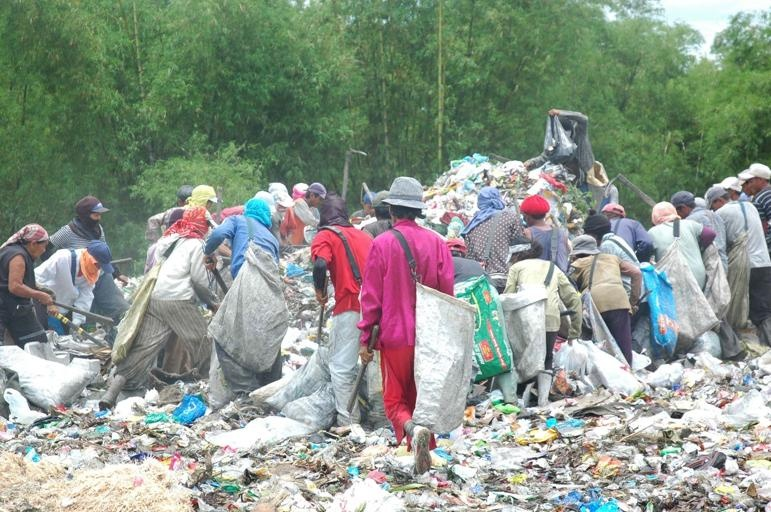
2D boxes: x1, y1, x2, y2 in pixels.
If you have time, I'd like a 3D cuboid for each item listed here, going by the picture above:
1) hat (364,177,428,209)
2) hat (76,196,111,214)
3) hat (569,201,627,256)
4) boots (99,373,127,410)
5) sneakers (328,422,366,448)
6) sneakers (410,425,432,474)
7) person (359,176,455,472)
[{"bbox_3d":[0.270,-0.983,14.588,0.708,0.389,0.746,6,-9,-3],"label":"hat"},{"bbox_3d":[-5.241,-0.910,17.624,0.616,0.342,0.397,1,8,-2],"label":"hat"},{"bbox_3d":[3.621,-0.484,17.105,0.734,0.741,0.635,-27,8,4],"label":"hat"},{"bbox_3d":[-4.270,2.135,15.519,0.192,0.216,0.480,35,28,-15],"label":"boots"},{"bbox_3d":[-0.532,2.624,14.706,0.651,0.282,0.242,10,-24,29],"label":"sneakers"},{"bbox_3d":[0.490,2.674,13.764,0.246,0.665,0.292,-2,-6,-8],"label":"sneakers"},{"bbox_3d":[0.255,0.818,14.113,1.306,4.022,0.424,-2,0,-1],"label":"person"}]
